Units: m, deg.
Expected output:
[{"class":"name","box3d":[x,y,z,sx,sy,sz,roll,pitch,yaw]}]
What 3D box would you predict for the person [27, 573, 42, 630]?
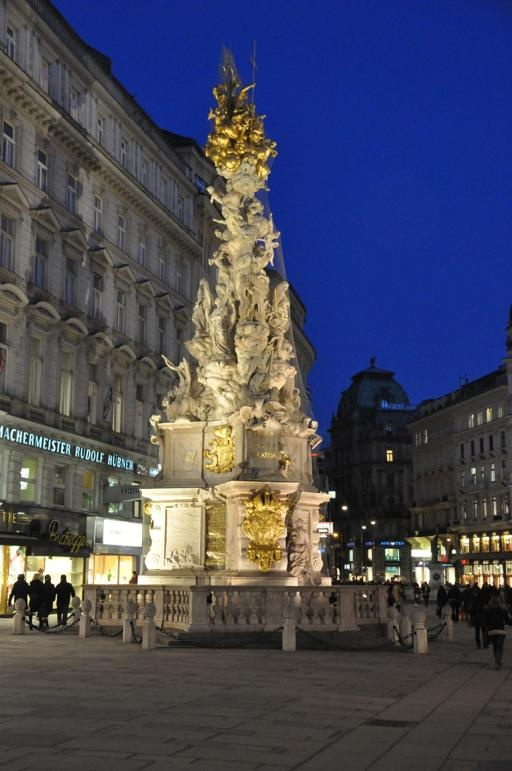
[{"class":"person","box3d":[-6.200,5.902,24.131,0.404,1.208,1.441,3,-17,-13]}]
